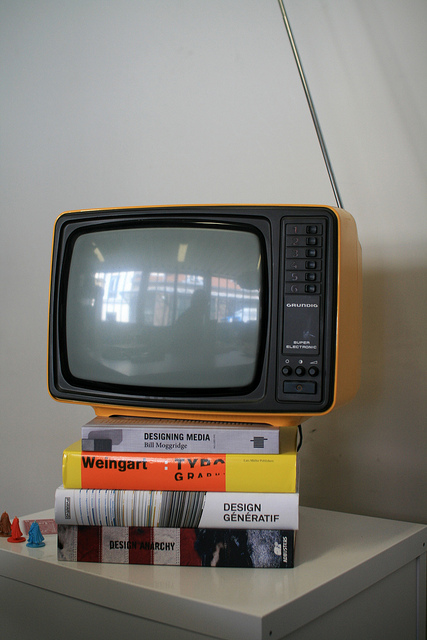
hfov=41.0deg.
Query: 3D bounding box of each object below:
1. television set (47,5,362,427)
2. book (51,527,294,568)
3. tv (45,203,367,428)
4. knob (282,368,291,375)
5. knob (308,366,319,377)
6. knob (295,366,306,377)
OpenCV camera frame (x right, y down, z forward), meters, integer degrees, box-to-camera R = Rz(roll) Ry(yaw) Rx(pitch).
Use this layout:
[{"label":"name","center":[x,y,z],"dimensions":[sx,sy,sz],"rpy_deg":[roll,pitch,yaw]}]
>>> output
[{"label":"television set","center":[-0.039,-0.117,0.892],"dimensions":[0.468,0.679,0.310],"rpy_deg":[0,-1,18]},{"label":"book","center":[-0.052,0.291,0.740],"dimensions":[0.309,0.054,0.017],"rpy_deg":[0,-5,6]},{"label":"tv","center":[-0.016,-0.007,0.895],"dimensions":[0.421,0.301,0.252],"rpy_deg":[1,3,16]},{"label":"knob","center":[0.093,0.066,0.731],"dimensions":[0.010,0.008,0.003],"rpy_deg":[0,-5,6]},{"label":"knob","center":[0.125,0.066,0.717],"dimensions":[0.011,0.011,0.003],"rpy_deg":[9,2,36]},{"label":"knob","center":[0.111,0.066,0.725],"dimensions":[0.011,0.013,0.007],"rpy_deg":[3,-6,-28]}]
